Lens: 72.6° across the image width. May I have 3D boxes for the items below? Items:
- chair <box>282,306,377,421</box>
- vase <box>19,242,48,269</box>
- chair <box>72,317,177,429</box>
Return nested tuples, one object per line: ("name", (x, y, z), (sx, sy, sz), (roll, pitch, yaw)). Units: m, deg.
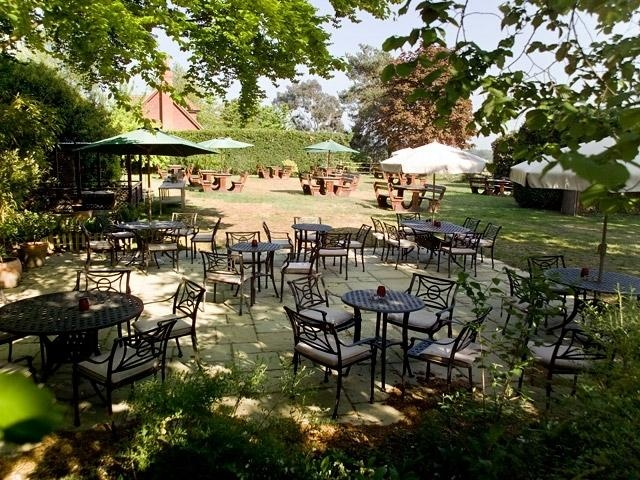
("chair", (0.160, 1.305, 4.973), (0.810, 0.992, 1.095), (0, 6, -38))
("vase", (-5.850, 0.315, 8.934), (0.197, 0.510, 0.489), (7, 6, 29))
("chair", (-2.006, 1.303, 4.451), (0.912, 0.962, 0.752), (1, 5, -28))
